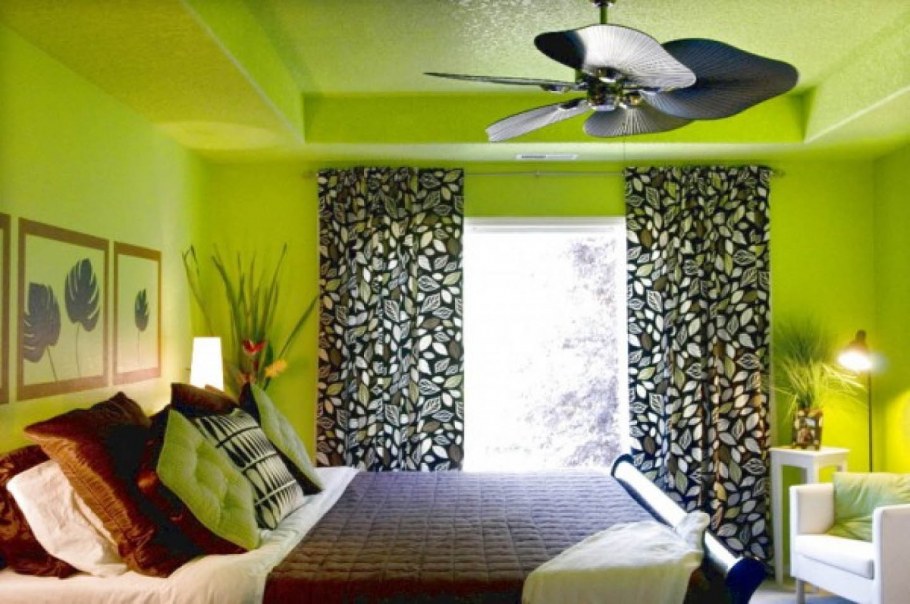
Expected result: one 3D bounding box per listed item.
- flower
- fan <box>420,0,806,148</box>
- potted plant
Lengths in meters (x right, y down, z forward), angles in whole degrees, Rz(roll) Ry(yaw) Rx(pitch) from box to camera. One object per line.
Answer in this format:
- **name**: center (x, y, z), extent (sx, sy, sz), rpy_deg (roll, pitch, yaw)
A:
- **flower**: center (-1.824, 0.173, 6.026), extent (1.195, 1.353, 1.102), rpy_deg (0, 0, 0)
- **fan**: center (1.020, -1.131, 3.595), extent (1.165, 0.429, 1.230), rpy_deg (1, -3, -2)
- **potted plant**: center (2.981, 0.681, 5.976), extent (0.850, 1.047, 0.960), rpy_deg (-1, -4, 19)
